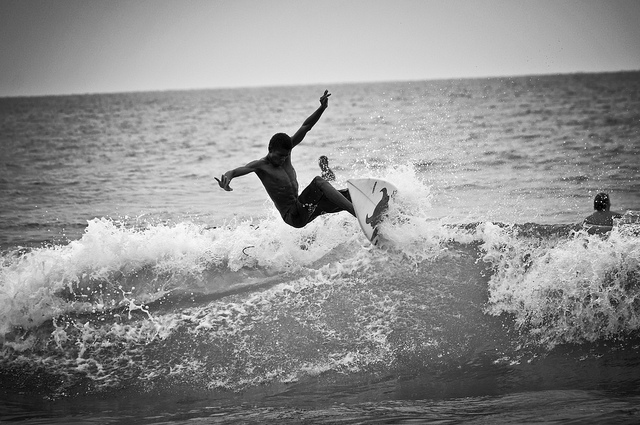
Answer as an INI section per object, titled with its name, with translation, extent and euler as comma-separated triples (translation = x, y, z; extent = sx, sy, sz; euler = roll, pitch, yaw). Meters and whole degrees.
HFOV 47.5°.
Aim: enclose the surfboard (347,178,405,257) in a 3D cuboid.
[surfboard]
translation = 1.025, -0.052, 13.506
extent = 0.330, 1.094, 2.387
euler = 30, -6, 14
